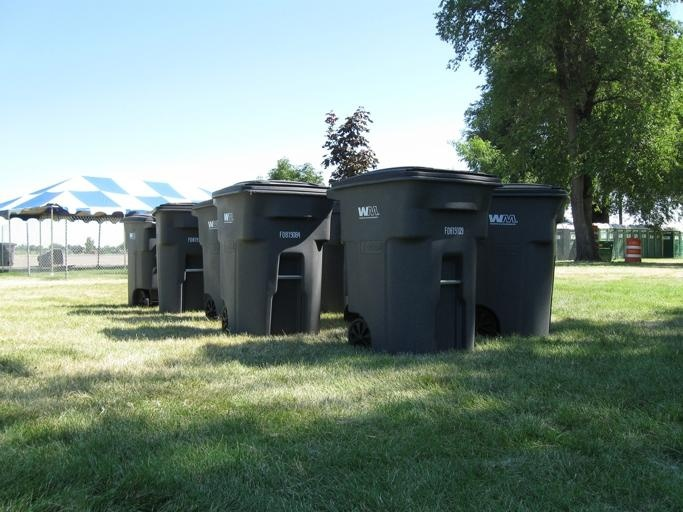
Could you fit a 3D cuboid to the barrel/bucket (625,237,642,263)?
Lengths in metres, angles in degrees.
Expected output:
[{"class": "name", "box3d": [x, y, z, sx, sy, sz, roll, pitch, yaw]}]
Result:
[{"class": "barrel/bucket", "box3d": [13.515, -0.227, 34.159, 0.615, 1.047, 1.803, 3, 10, 19]}]

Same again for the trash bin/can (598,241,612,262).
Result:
[{"class": "trash bin/can", "box3d": [12.678, -0.154, 35.499, 0.464, 0.687, 0.839, 1, -4, 15]}]

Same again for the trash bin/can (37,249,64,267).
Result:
[{"class": "trash bin/can", "box3d": [-12.033, 0.137, 30.618, 0.998, 0.781, 3.170, -4, 11, -21]}]
